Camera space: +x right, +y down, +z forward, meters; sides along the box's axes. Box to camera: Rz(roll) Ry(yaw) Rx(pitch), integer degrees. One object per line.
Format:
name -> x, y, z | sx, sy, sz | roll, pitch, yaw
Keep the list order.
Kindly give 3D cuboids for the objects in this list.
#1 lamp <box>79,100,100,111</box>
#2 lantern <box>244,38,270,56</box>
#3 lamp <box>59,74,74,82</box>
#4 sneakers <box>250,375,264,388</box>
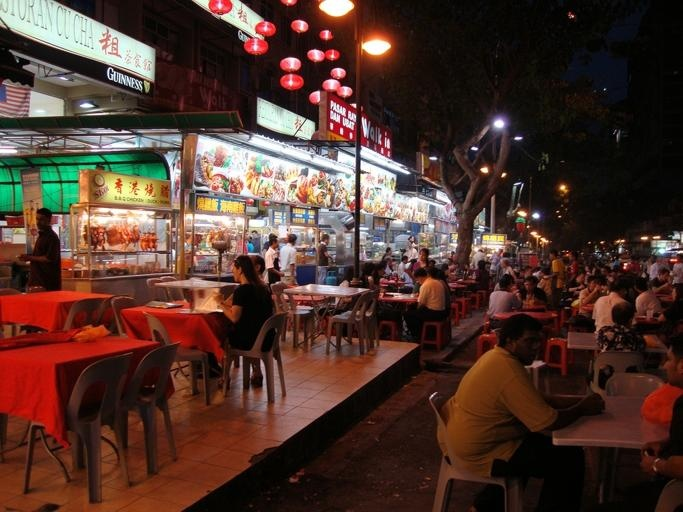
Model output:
lamp -> -7.881, -4.693, 16.747 | 0.650, 0.315, 0.270 | 11, 10, 33
lantern -> -2.616, -6.545, 16.635 | 0.580, 0.519, 0.629 | 6, 8, 3
lamp -> -7.951, -5.169, 15.669 | 0.360, 0.090, 0.324 | 1, -3, -41
sneakers -> -1.160, 1.726, 7.433 | 0.211, 0.204, 0.126 | 3, -14, -14
